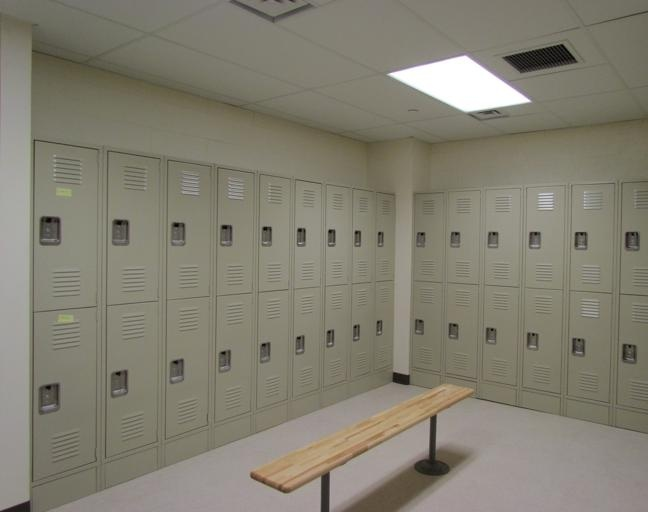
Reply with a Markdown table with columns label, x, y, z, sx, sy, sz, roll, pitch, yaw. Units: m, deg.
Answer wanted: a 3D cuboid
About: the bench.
| label | x | y | z | sx | sy | sz | roll | pitch | yaw |
| --- | --- | --- | --- | --- | --- | --- | --- | --- | --- |
| bench | 0.363 | 1.607 | 3.991 | 2.124 | 0.475 | 0.365 | -6 | 10 | -43 |
